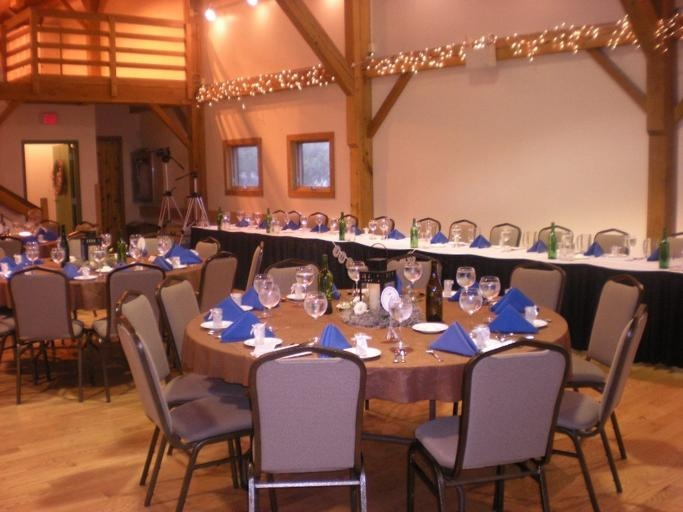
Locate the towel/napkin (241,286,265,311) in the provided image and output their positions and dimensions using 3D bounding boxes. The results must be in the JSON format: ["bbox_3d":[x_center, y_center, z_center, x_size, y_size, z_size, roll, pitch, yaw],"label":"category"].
[{"bbox_3d":[-0.589,0.287,3.991,0.129,0.151,0.043,5,-7,14],"label":"towel/napkin"}]

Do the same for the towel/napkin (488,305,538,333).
[{"bbox_3d":[0.970,0.375,3.460,0.169,0.102,0.186,-2,1,-1],"label":"towel/napkin"}]

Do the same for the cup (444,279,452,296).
[{"bbox_3d":[0.769,0.235,4.379,0.070,0.096,0.053,10,15,40],"label":"cup"}]

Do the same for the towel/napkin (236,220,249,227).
[{"bbox_3d":[-1.416,-0.464,8.699,0.103,0.055,0.129,5,21,2],"label":"towel/napkin"}]

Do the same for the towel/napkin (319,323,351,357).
[{"bbox_3d":[-0.029,0.423,3.226,0.148,0.253,0.106,-14,18,-28],"label":"towel/napkin"}]

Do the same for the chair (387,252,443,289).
[{"bbox_3d":[0.626,0.097,5.353,0.368,0.332,0.396,-2,12,-10],"label":"chair"}]

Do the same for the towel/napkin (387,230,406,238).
[{"bbox_3d":[0.668,-0.266,7.483,0.160,0.083,0.174,4,11,20],"label":"towel/napkin"}]

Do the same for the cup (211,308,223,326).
[{"bbox_3d":[-0.751,0.373,3.656,0.068,0.129,0.075,1,14,0],"label":"cup"}]

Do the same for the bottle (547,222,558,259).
[{"bbox_3d":[2.042,-0.146,5.856,0.080,0.332,0.493,2,5,19],"label":"bottle"}]

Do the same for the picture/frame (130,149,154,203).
[{"bbox_3d":[-4.596,-1.840,13.996,0.646,1.262,0.189,4,7,37],"label":"picture/frame"}]

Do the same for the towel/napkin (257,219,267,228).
[{"bbox_3d":[-1.117,-0.441,8.556,0.097,0.052,0.143,-2,22,-3],"label":"towel/napkin"}]

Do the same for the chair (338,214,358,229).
[{"bbox_3d":[0.111,-0.490,8.442,0.233,0.358,0.227,1,7,6],"label":"chair"}]

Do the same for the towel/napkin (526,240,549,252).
[{"bbox_3d":[1.990,-0.087,6.105,0.124,0.064,0.134,-7,15,-9],"label":"towel/napkin"}]

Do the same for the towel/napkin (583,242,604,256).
[{"bbox_3d":[2.429,-0.057,5.826,0.116,0.131,0.157,-3,9,-15],"label":"towel/napkin"}]

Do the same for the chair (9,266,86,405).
[{"bbox_3d":[-2.440,0.614,5.065,0.555,1.094,0.826,-3,6,-28],"label":"chair"}]

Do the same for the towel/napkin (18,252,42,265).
[{"bbox_3d":[-3.000,0.030,5.837,0.106,0.144,0.126,4,13,-15],"label":"towel/napkin"}]

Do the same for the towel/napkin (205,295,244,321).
[{"bbox_3d":[-0.776,0.347,4.004,0.143,0.082,0.203,0,7,-2],"label":"towel/napkin"}]

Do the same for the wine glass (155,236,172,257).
[{"bbox_3d":[-1.682,-0.089,5.773,0.062,0.196,0.153,7,-9,-32],"label":"wine glass"}]

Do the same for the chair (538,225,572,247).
[{"bbox_3d":[2.243,-0.199,6.360,0.178,0.298,0.264,-4,7,-30],"label":"chair"}]

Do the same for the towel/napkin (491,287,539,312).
[{"bbox_3d":[1.059,0.281,3.782,0.153,0.081,0.183,-2,6,-1],"label":"towel/napkin"}]

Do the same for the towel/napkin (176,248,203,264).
[{"bbox_3d":[-1.465,-0.001,5.834,0.161,0.062,0.169,18,14,26],"label":"towel/napkin"}]

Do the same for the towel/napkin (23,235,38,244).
[{"bbox_3d":[-3.604,-0.183,7.019,0.176,0.153,0.182,1,1,-30],"label":"towel/napkin"}]

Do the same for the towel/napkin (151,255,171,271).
[{"bbox_3d":[-1.616,0.061,5.480,0.147,0.082,0.199,-3,14,-26],"label":"towel/napkin"}]

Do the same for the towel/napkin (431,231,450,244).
[{"bbox_3d":[1.091,-0.183,6.824,0.140,0.108,0.146,-11,11,-37],"label":"towel/napkin"}]

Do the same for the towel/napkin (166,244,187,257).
[{"bbox_3d":[-1.597,-0.044,5.831,0.146,0.059,0.160,-2,18,-5],"label":"towel/napkin"}]

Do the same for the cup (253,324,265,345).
[{"bbox_3d":[-0.445,0.428,3.275,0.067,0.123,0.073,2,12,0],"label":"cup"}]

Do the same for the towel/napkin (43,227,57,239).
[{"bbox_3d":[-3.824,-0.290,7.935,0.152,0.081,0.158,-5,20,-28],"label":"towel/napkin"}]
